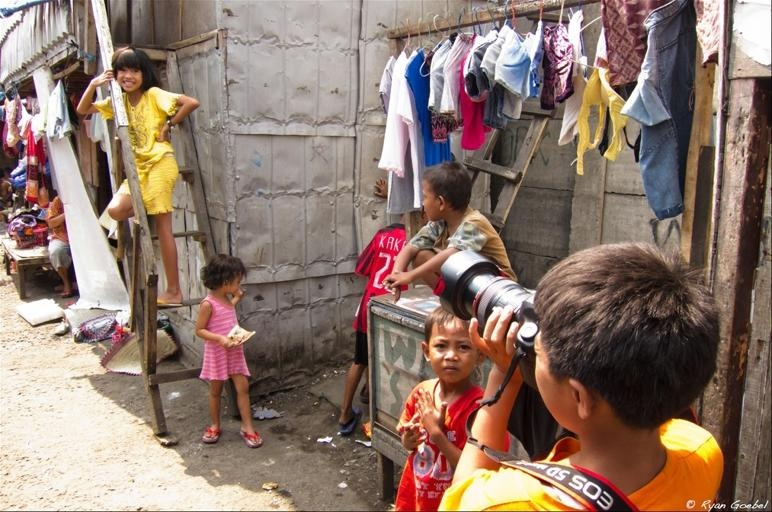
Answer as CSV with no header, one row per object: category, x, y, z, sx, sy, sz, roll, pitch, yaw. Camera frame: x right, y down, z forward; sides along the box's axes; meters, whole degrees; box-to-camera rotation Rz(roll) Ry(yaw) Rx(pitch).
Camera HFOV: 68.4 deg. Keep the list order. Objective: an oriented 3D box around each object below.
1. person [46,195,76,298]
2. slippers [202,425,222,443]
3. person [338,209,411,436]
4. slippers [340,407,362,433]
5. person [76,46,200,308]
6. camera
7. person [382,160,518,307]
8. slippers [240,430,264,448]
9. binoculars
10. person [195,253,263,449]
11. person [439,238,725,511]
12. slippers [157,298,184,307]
person,-4.874,-0.152,8.500,0.285,1.431,0.843,-10,15,-30
slippers,-1.462,1.505,4.800,0.092,0.062,0.167,1,0,-2
person,-0.123,0.588,4.978,0.641,1.766,0.649,0,-8,8
slippers,-0.307,1.429,4.907,0.101,0.080,0.254,9,49,32
person,-2.207,-0.702,5.058,0.971,2.341,0.717,1,-6,-38
camera,0.470,0.208,2.238,0.366,0.304,0.583,-24,39,-36
person,0.431,-0.086,4.030,1.030,1.131,0.608,-9,17,-15
slippers,-1.116,1.520,4.771,0.160,0.105,0.217,-7,13,-20
binoculars,0.393,0.220,2.175,0.313,0.263,0.491,-6,26,-26
person,-1.290,0.806,4.886,0.604,1.580,0.487,10,15,35
person,0.680,0.420,1.891,0.920,0.891,0.509,-1,13,6
slippers,-1.845,0.401,4.871,0.234,0.095,0.078,-4,1,14
